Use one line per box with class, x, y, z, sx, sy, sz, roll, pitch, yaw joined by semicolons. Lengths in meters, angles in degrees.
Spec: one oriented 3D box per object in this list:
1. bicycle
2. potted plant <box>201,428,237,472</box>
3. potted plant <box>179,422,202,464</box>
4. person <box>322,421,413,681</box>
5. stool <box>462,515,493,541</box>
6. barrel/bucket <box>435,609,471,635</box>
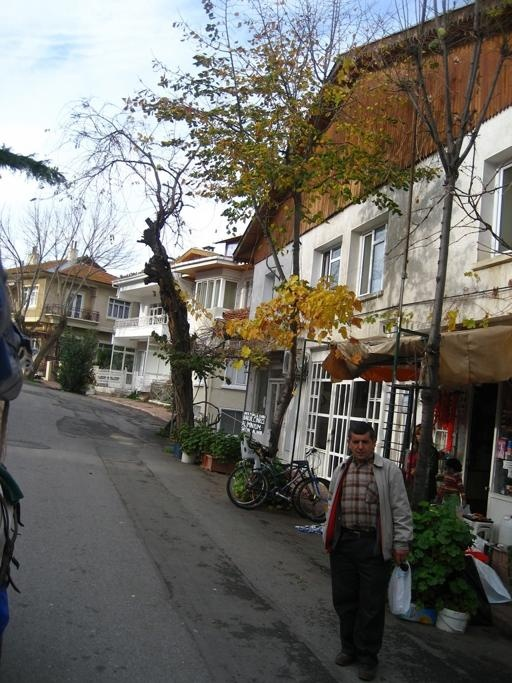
bicycle;0.507;2.773;9.487;2.255;1.355;1.063;4;-7;-3
potted plant;-0.940;2.937;13.178;0.922;1.066;1.095;3;5;-25
potted plant;-1.948;2.948;14.011;0.847;0.935;0.975;3;-2;-22
person;0.774;1.465;3.575;0.444;1.659;0.600;12;-9;-44
stool;3.146;2.683;6.869;0.372;0.307;0.705;1;-7;37
barrel/bucket;1.846;2.576;4.498;0.224;0.163;0.232;9;-5;1
